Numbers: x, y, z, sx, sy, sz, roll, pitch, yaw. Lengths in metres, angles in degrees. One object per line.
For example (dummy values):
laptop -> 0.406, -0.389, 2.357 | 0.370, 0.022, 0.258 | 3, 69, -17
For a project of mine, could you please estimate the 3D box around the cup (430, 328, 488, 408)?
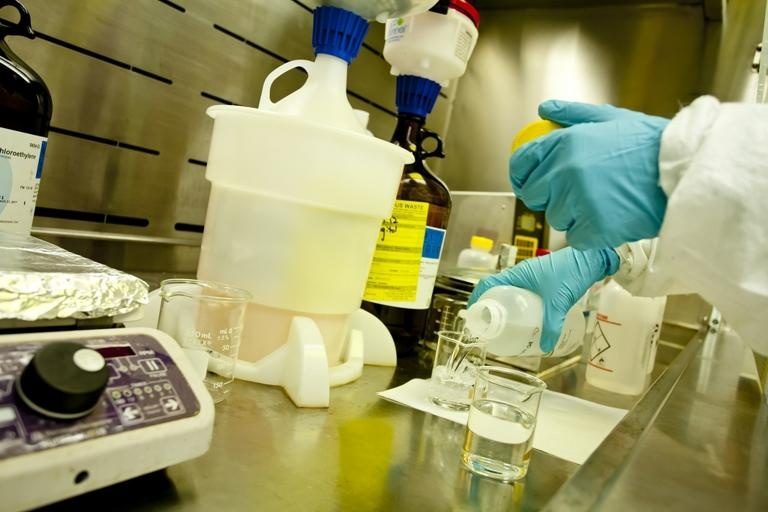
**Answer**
cup -> 0.172, 0.278, 1.195 | 0.117, 0.172, 0.132 | 10, -1, 23

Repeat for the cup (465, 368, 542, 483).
cup -> 0.228, 0.312, 0.944 | 0.124, 0.174, 0.135 | 7, 4, 0

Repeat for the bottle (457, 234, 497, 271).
bottle -> 0.380, 0.009, 2.024 | 0.145, 0.151, 0.164 | 15, 5, -5
